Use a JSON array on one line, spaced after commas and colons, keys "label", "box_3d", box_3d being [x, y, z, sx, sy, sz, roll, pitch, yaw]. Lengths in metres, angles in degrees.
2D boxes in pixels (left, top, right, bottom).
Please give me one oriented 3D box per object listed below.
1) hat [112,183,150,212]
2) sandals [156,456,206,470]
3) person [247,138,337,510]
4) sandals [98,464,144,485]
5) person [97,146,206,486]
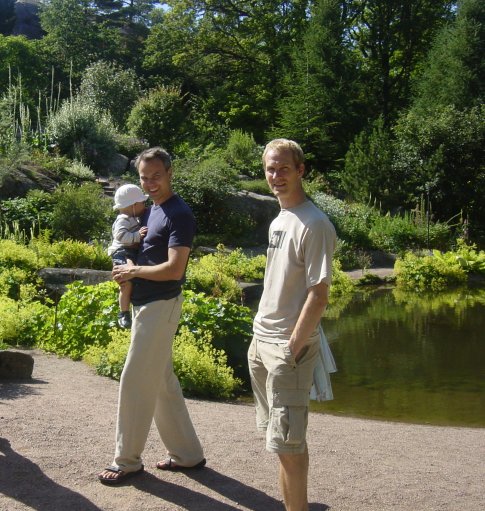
[{"label": "hat", "box_3d": [-0.845, -0.435, 4.767, 0.254, 0.115, 0.180, -17, 16, -14]}, {"label": "sandals", "box_3d": [-0.431, 1.431, 4.488, 0.259, 0.060, 0.112, 4, -10, -1]}, {"label": "person", "box_3d": [0.282, 0.450, 3.838, 0.421, 2.311, 0.480, 2, 3, -12]}, {"label": "sandals", "box_3d": [-0.797, 1.434, 4.256, 0.258, 0.067, 0.099, 10, -6, -35]}, {"label": "person", "box_3d": [-0.572, 0.378, 4.340, 0.675, 2.197, 0.446, 2, 3, -16]}]
